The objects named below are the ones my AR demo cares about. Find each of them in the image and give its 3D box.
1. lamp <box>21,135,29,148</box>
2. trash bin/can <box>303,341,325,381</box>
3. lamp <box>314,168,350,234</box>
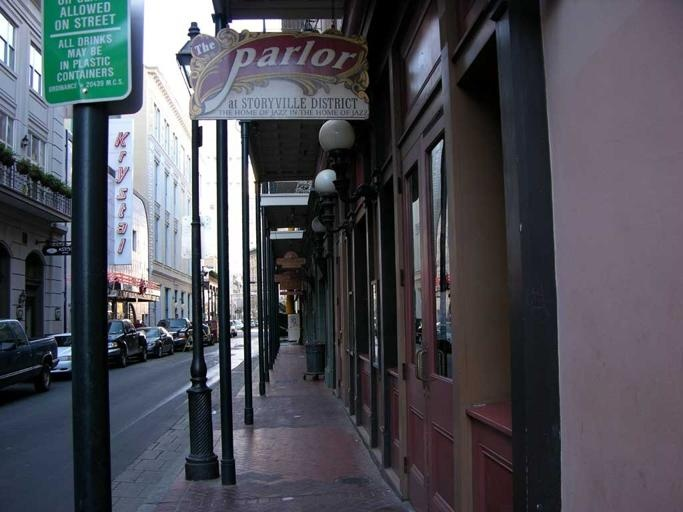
[{"bbox_3d":[-13.422,-4.974,25.264,0.165,0.722,0.640,1,-5,-15],"label":"lamp"},{"bbox_3d":[-0.706,2.889,16.427,0.534,1.025,0.490,1,-4,-11],"label":"trash bin/can"},{"bbox_3d":[-0.131,-0.952,7.922,0.379,0.603,0.456,2,-6,-3],"label":"lamp"}]
